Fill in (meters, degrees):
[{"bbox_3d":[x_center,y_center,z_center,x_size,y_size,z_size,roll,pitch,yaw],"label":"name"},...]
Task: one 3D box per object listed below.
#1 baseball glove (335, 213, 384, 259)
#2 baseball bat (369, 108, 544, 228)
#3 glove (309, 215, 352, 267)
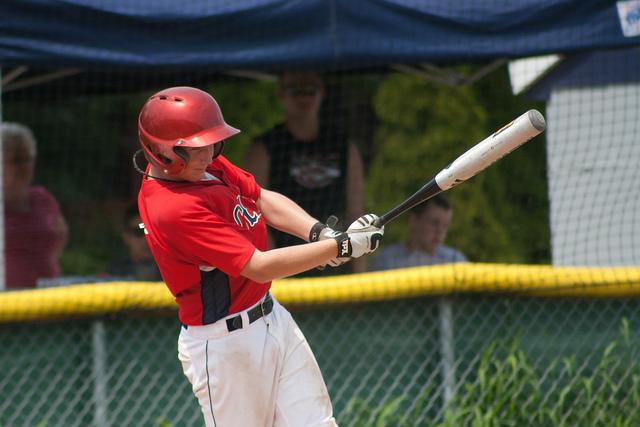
[{"bbox_3d":[0.266,0.155,9.547,0.326,0.218,0.147,-30,22,-21],"label":"baseball glove"},{"bbox_3d":[1.338,-0.406,13.659,1.653,0.179,0.185,-42,16,10],"label":"baseball bat"},{"bbox_3d":[0.050,0.162,9.574,0.296,0.155,0.305,1,11,-11],"label":"glove"}]
